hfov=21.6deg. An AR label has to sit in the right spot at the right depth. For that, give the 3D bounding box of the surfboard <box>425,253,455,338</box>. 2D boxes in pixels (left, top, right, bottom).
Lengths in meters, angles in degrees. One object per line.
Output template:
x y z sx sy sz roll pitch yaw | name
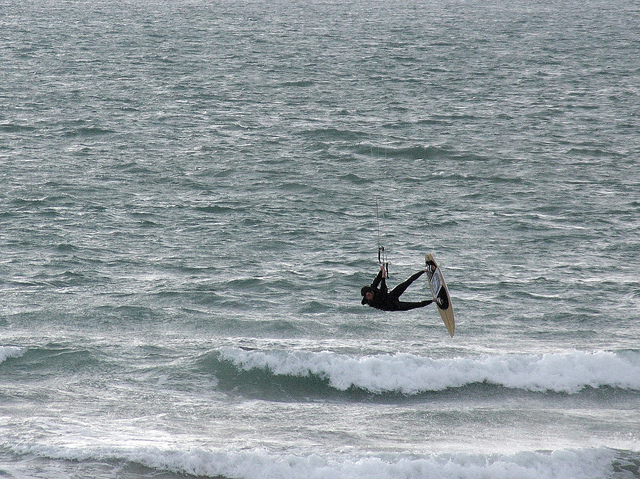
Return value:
7.705 3.319 102.117 0.680 1.092 5.869 -6 38 -14 | surfboard
